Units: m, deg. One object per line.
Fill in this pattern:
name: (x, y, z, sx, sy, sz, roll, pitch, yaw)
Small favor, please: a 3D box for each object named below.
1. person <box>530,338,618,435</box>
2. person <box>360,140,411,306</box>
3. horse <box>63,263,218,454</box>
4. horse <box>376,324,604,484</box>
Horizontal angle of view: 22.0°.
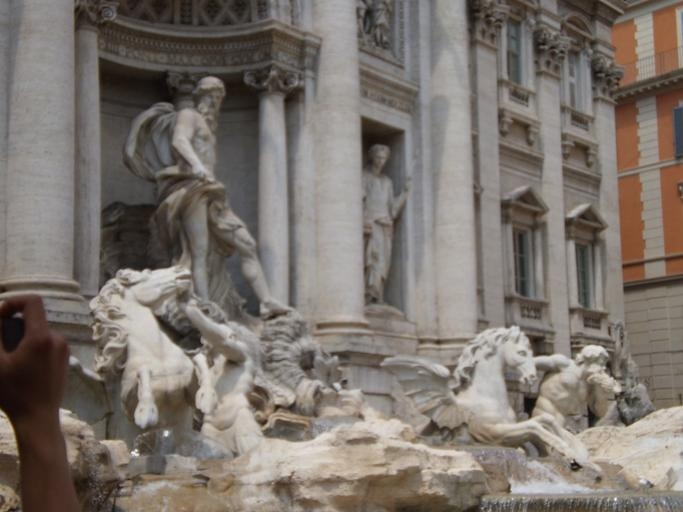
person: (3.959, 2.363, 30.630, 1.056, 1.551, 1.106, -3, -47, 45)
person: (0.684, -0.576, 32.977, 0.510, 2.955, 1.020, -8, -13, 42)
horse: (-2.762, 1.263, 24.604, 2.118, 2.179, 0.748, -4, -7, -15)
horse: (2.378, 2.298, 28.267, 2.202, 1.564, 2.621, -6, -16, 26)
